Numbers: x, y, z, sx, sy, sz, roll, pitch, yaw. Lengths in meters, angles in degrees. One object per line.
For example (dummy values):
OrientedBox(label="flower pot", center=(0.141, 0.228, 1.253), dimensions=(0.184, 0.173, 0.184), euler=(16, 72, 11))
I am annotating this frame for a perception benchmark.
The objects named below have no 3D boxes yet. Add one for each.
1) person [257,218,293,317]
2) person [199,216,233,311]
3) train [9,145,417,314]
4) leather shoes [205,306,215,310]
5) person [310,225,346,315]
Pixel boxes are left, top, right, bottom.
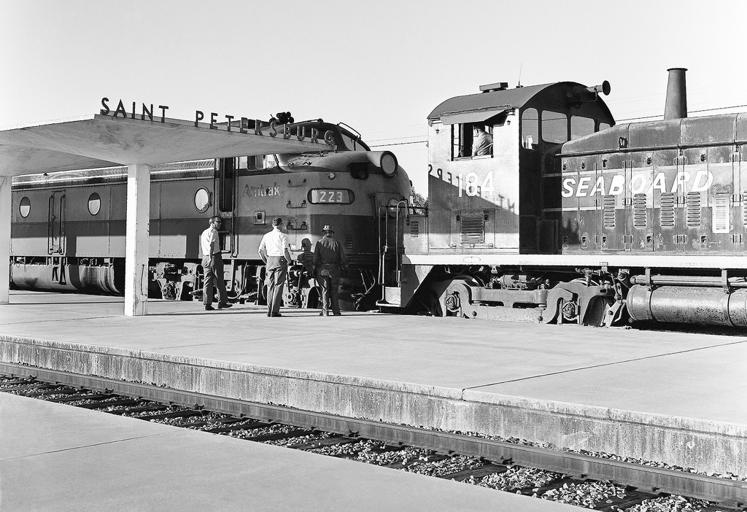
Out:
OrientedBox(label="person", center=(-2.127, 0.196, 16.501), dimensions=(0.670, 2.135, 1.507), euler=(0, -1, -7))
OrientedBox(label="person", center=(-3.692, 0.139, 17.463), dimensions=(0.510, 2.137, 0.779), euler=(0, -1, 3))
OrientedBox(label="train", center=(-7.188, -0.773, 22.408), dimensions=(14.012, 4.421, 2.887), euler=(-2, -2, 19))
OrientedBox(label="leather shoes", center=(-3.715, 1.151, 17.321), dimensions=(0.203, 0.110, 0.349), euler=(0, -2, -15))
OrientedBox(label="person", center=(-0.943, 0.290, 16.619), dimensions=(0.653, 1.948, 0.682), euler=(-1, -2, 34))
